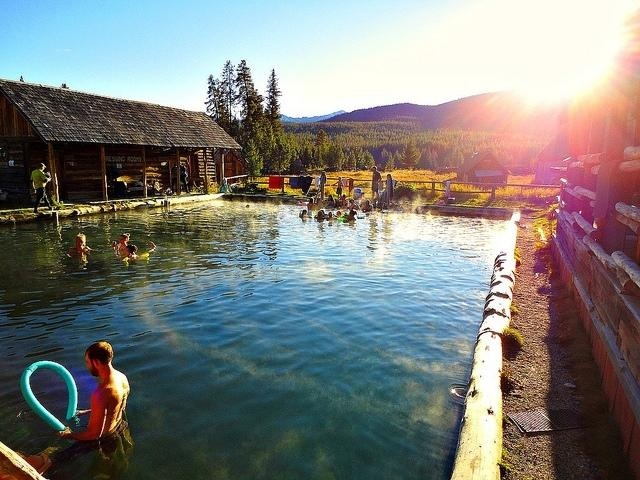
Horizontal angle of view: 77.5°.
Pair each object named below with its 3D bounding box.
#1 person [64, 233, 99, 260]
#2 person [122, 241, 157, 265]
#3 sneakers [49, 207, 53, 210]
[{"bbox_3d":[-8.649,0.216,14.380,0.659,0.525,0.350,10,16,-1],"label":"person"},{"bbox_3d":[-6.286,0.341,13.678,0.837,0.444,2.194,-6,12,-11],"label":"person"},{"bbox_3d":[-13.995,-1.691,20.688,0.123,0.124,0.045,10,-38,-38],"label":"sneakers"}]
